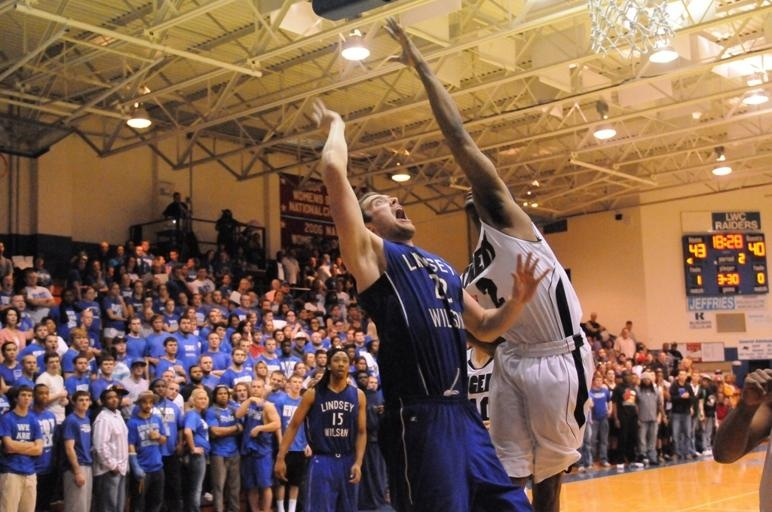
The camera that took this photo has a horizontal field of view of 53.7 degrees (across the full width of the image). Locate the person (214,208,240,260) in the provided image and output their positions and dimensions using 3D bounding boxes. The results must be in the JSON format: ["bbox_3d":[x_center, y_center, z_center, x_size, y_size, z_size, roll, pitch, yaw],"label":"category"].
[{"bbox_3d":[-4.932,-0.519,23.785,0.614,1.864,0.511,-2,6,-18],"label":"person"}]

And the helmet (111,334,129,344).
[{"bbox_3d":[-5.174,1.598,14.759,0.228,0.199,0.355,2,-19,-29],"label":"helmet"}]

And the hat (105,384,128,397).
[{"bbox_3d":[-4.706,2.356,13.340,0.309,0.241,0.624,0,-13,-11],"label":"hat"}]

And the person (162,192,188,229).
[{"bbox_3d":[-6.230,-1.283,23.265,0.614,1.093,0.942,-10,-14,34],"label":"person"}]
